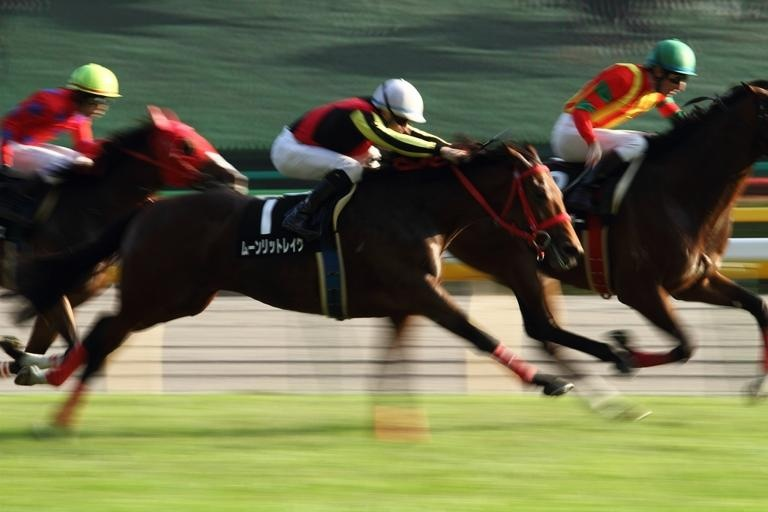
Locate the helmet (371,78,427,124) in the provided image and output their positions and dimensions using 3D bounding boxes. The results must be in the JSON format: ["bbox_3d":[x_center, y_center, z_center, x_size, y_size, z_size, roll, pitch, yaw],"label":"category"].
[{"bbox_3d":[0.102,-0.899,6.296,0.370,0.171,0.235,17,29,17],"label":"helmet"}]

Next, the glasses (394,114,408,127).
[{"bbox_3d":[0.102,-0.760,6.276,0.060,0.019,0.070,15,-9,-1],"label":"glasses"}]

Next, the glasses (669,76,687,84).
[{"bbox_3d":[1.809,-1.058,6.729,0.077,0.030,0.059,-4,5,-32],"label":"glasses"}]

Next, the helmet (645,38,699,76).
[{"bbox_3d":[1.786,-1.235,6.774,0.335,0.168,0.354,-2,26,-19],"label":"helmet"}]

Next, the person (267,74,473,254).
[{"bbox_3d":[0.012,-0.585,6.406,1.362,0.836,0.688,5,17,20],"label":"person"}]

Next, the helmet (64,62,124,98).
[{"bbox_3d":[-1.783,-1.099,6.905,0.390,0.167,0.307,21,22,33],"label":"helmet"}]

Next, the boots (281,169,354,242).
[{"bbox_3d":[-0.358,-0.279,6.131,0.398,0.377,0.168,-1,13,-2],"label":"boots"}]
